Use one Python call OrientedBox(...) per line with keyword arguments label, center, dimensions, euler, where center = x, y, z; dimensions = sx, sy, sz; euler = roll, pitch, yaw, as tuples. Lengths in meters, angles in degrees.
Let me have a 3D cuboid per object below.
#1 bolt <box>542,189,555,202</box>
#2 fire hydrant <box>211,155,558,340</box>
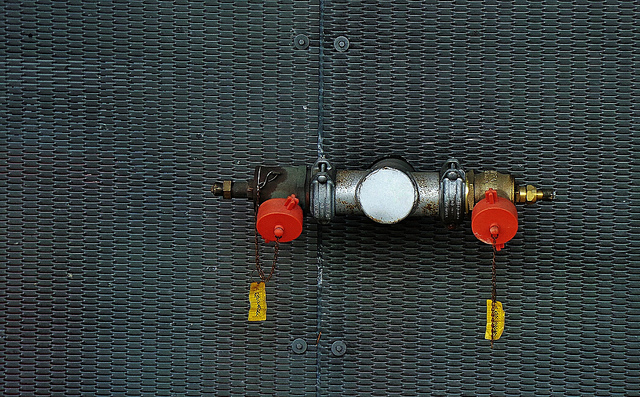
OrientedBox(label="bolt", center=(1.071, -0.011, 5.859), dimensions=(0.088, 0.049, 0.046), euler=(-1, 23, 3))
OrientedBox(label="fire hydrant", center=(0.377, 0.205, 5.955), dimensions=(1.584, 0.480, 0.353), euler=(1, 1, 6))
